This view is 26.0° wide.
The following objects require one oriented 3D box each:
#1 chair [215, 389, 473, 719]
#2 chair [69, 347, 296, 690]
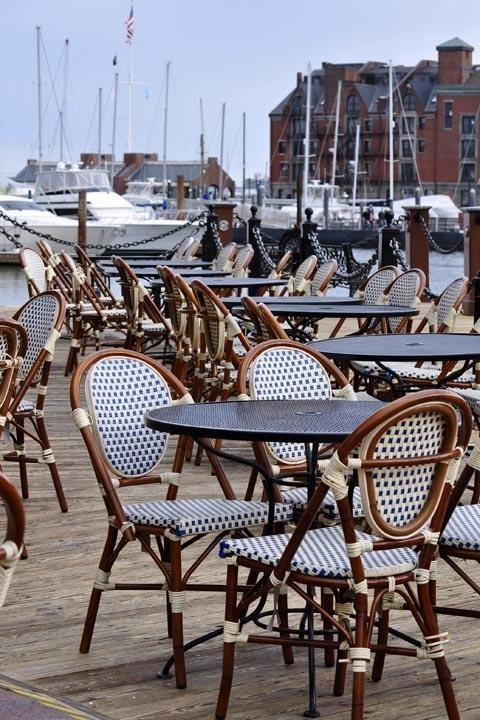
[{"bbox_3d":[0.231,0.403,2.188,0.471,0.731,0.507,-4,7,-43],"label":"chair"},{"bbox_3d":[-0.080,0.343,2.922,0.606,1.213,0.633,-2,2,-44],"label":"chair"}]
